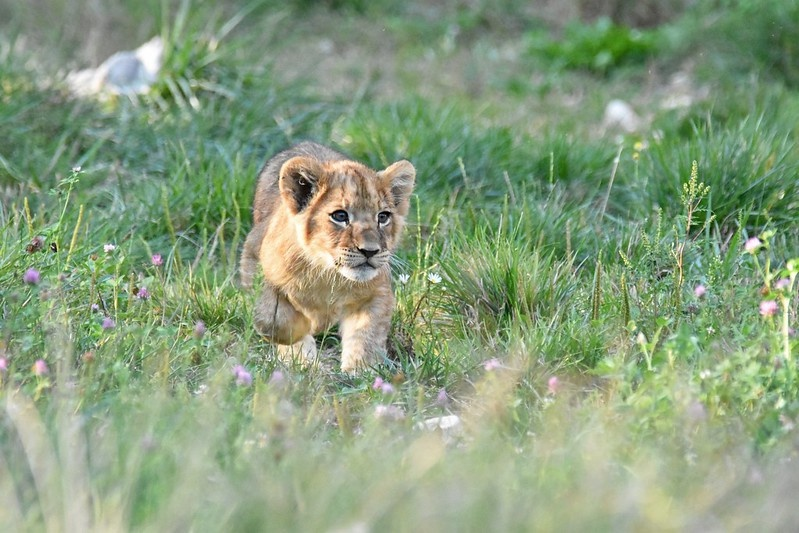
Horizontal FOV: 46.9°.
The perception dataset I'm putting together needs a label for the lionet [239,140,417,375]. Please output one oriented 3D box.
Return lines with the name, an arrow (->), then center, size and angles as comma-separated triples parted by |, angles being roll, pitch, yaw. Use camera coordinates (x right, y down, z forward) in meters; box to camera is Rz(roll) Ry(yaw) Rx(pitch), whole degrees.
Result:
lionet -> -0.444, 0.021, 6.035 | 1.032, 1.312, 1.036 | 1, 31, 3
